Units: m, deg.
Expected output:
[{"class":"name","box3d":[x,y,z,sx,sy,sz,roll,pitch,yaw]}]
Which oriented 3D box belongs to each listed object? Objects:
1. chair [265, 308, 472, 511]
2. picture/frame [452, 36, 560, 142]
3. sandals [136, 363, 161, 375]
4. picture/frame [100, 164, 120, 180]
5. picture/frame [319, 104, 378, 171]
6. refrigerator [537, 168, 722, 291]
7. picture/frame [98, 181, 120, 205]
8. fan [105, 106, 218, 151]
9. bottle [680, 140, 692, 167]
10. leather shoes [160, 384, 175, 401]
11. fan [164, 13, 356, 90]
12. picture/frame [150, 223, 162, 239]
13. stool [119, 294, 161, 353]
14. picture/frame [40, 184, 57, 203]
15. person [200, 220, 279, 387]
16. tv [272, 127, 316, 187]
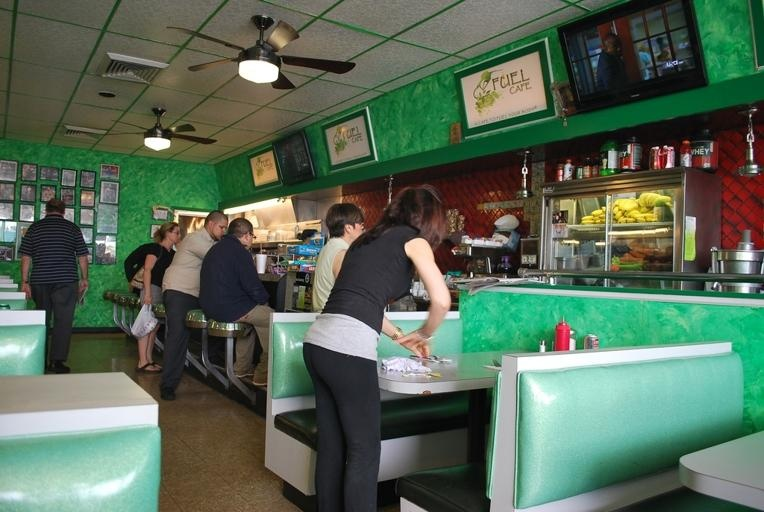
[{"class":"chair","box3d":[-0.103,0.916,2.963,1.459,0.946,0.710,3,-8,-32]},{"class":"picture/frame","box3d":[1.274,-1.690,5.175,0.040,0.686,1.097,-11,4,-38]},{"class":"sandals","box3d":[-2.862,1.391,6.415,0.240,0.079,0.123,0,-1,-4]},{"class":"picture/frame","box3d":[-5.197,-1.617,9.942,0.366,0.273,0.046,2,-7,-31]},{"class":"picture/frame","box3d":[-0.418,-1.652,7.122,0.070,0.607,0.977,-17,7,-34]},{"class":"refrigerator","box3d":[2.231,-0.255,4.580,0.502,0.994,1.172,14,-11,-36]},{"class":"picture/frame","box3d":[-5.200,-1.217,9.945,0.330,0.408,0.049,-4,2,-34]},{"class":"fan","box3d":[-3.047,-1.778,7.130,1.357,0.426,1.278,2,1,41]},{"class":"bottle","box3d":[2.625,-0.897,4.501,0.087,0.242,0.171,-2,2,30]},{"class":"leather shoes","box3d":[-2.170,1.380,5.276,0.151,0.133,0.140,-3,2,-13]},{"class":"fan","box3d":[-1.068,-1.907,4.748,1.103,0.474,1.370,-3,2,-34]},{"class":"picture/frame","box3d":[-3.815,-0.428,8.784,0.446,0.272,0.018,-5,-12,35]},{"class":"stool","box3d":[-3.262,0.903,7.059,0.488,0.352,1.057,2,0,-33]},{"class":"picture/frame","box3d":[-6.041,-1.157,9.468,0.250,0.310,0.104,-3,2,-29]},{"class":"person","box3d":[-1.388,0.428,5.106,0.753,1.263,0.681,-2,2,8]},{"class":"tv","box3d":[-1.356,-1.597,8.220,0.125,0.606,0.892,-18,-1,-36]}]
